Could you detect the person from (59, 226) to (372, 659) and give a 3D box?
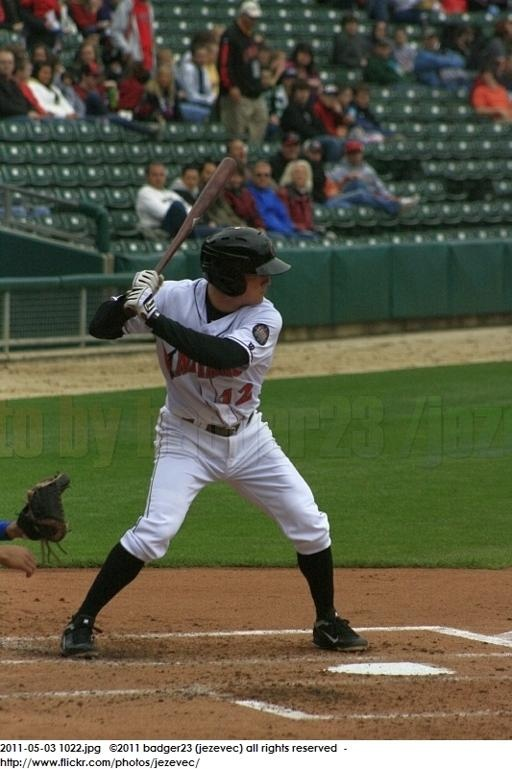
[{"bbox_3d":[-0.160,0.191,3.853,0.955,1.383,0.440,-3,10,-26],"label":"person"}]

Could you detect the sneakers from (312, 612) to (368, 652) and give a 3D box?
[{"bbox_3d":[0.270,0.831,4.022,0.230,0.090,0.084,-1,0,23],"label":"sneakers"}]

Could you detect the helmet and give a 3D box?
[{"bbox_3d":[-0.038,-0.373,3.725,0.297,0.179,0.190,0,17,0],"label":"helmet"}]

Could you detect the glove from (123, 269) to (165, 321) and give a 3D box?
[{"bbox_3d":[-0.337,-0.263,3.650,0.060,0.106,0.164,-23,33,-4],"label":"glove"}]

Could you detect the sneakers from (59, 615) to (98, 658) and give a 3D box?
[{"bbox_3d":[-0.558,0.796,3.837,0.155,0.124,0.121,4,-18,-5],"label":"sneakers"}]
